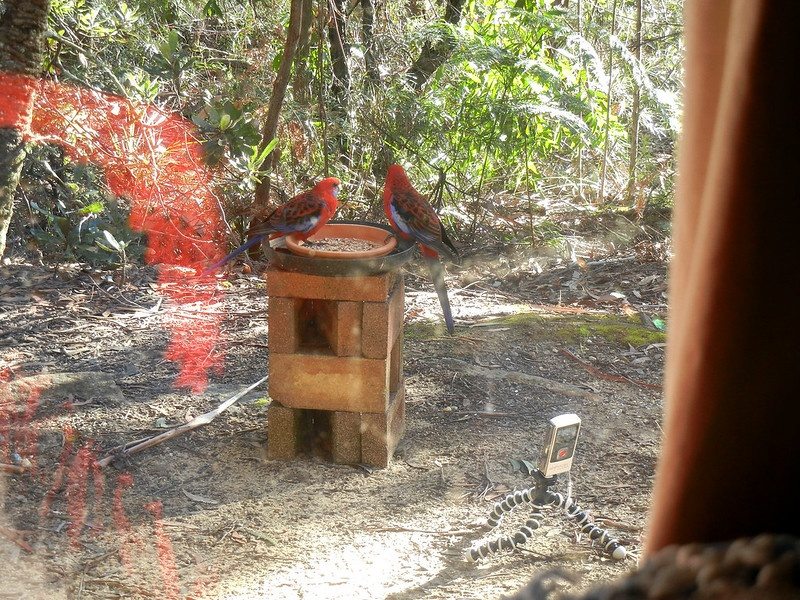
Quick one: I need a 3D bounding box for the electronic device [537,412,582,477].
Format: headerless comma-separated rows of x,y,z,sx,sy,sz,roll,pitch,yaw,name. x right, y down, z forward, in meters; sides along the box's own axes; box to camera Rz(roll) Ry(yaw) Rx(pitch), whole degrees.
0.407,0.371,2.024,0.097,0.221,0.215,0,13,10,electronic device

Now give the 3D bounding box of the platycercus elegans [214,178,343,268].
-0.462,-0.282,2.872,0.587,0.238,0.150,-13,28,-6,platycercus elegans
